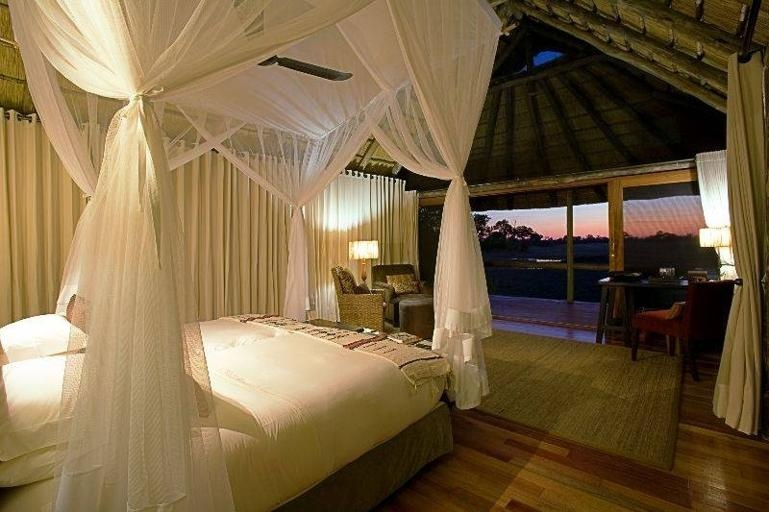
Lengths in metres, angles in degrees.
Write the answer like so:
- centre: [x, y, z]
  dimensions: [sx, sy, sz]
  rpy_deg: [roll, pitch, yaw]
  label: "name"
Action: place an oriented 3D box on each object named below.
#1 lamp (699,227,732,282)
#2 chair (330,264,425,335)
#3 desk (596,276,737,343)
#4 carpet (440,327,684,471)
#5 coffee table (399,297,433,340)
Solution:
- centre: [4.376, -0.028, 5.951]
  dimensions: [0.588, 0.677, 0.326]
  rpy_deg: [-1, 0, -42]
  label: "lamp"
- centre: [0.029, 0.594, 6.646]
  dimensions: [0.956, 1.294, 1.170]
  rpy_deg: [2, -5, -37]
  label: "chair"
- centre: [3.403, 0.745, 5.809]
  dimensions: [1.207, 0.712, 0.396]
  rpy_deg: [2, 4, 32]
  label: "desk"
- centre: [1.362, 1.331, 4.981]
  dimensions: [2.749, 0.058, 3.084]
  rpy_deg: [15, 1, 4]
  label: "carpet"
- centre: [0.419, 0.873, 6.389]
  dimensions: [0.501, 0.439, 0.499]
  rpy_deg: [0, -3, -26]
  label: "coffee table"
